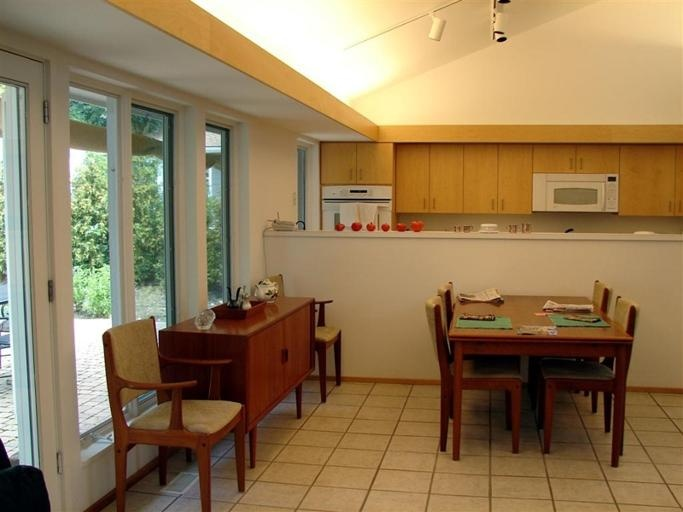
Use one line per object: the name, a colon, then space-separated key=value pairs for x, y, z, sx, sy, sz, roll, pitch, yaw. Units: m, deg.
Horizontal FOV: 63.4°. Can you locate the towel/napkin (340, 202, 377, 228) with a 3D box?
towel/napkin: x=0.213 y=-0.494 z=6.541 sx=0.393 sy=0.269 sz=0.066 roll=0 pitch=1 yaw=4

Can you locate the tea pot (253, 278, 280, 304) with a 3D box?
tea pot: x=-0.617 y=0.300 z=4.561 sx=0.176 sy=0.176 sz=0.250 roll=-1 pitch=-3 yaw=11

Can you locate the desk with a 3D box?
desk: x=-0.696 y=0.958 z=4.292 sx=0.604 sy=1.051 sz=1.744 roll=-1 pitch=0 yaw=11

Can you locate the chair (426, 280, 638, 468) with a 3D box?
chair: x=1.286 y=0.750 z=3.915 sx=1.095 sy=0.744 sz=1.433 roll=0 pitch=3 yaw=9

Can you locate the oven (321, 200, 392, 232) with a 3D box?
oven: x=0.207 y=-0.505 z=6.701 sx=0.663 sy=0.449 sz=0.446 roll=0 pitch=0 yaw=3

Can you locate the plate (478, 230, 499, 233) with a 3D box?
plate: x=1.450 y=-0.237 z=5.452 sx=0.133 sy=0.015 sz=0.134 roll=0 pitch=-1 yaw=1

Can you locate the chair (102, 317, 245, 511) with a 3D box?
chair: x=-0.941 y=0.924 z=3.215 sx=0.680 sy=1.063 sz=0.508 roll=0 pitch=8 yaw=8

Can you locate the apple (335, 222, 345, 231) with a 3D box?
apple: x=-0.011 y=-0.295 z=5.389 sx=0.095 sy=0.083 sz=0.092 roll=-4 pitch=-11 yaw=21

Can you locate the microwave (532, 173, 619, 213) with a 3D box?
microwave: x=2.816 y=-0.760 z=6.702 sx=0.837 sy=0.419 sz=0.513 roll=0 pitch=1 yaw=9

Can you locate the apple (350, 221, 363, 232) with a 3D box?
apple: x=0.149 y=-0.279 z=5.342 sx=0.101 sy=0.100 sz=0.103 roll=4 pitch=5 yaw=9
